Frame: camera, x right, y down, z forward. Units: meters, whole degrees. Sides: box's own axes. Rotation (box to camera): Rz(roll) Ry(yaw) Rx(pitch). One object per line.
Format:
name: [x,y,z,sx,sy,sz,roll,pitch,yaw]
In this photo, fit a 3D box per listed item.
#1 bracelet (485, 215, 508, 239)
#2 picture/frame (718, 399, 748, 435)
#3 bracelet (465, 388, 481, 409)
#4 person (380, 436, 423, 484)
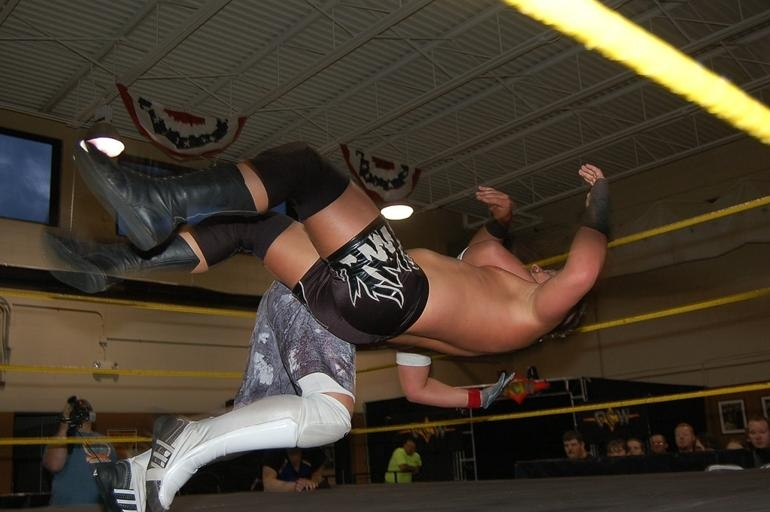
bracelet: [0.642,-0.162,3.517,0.125,0.115,0.093,11,-58,4]
picture/frame: [5.607,2.587,10.053,0.435,0.500,0.039,-5,-4,-5]
bracelet: [0.540,0.866,3.792,0.113,0.099,0.102,7,-27,-11]
person: [0.274,3.062,8.939,0.466,0.821,0.430,18,-10,-41]
